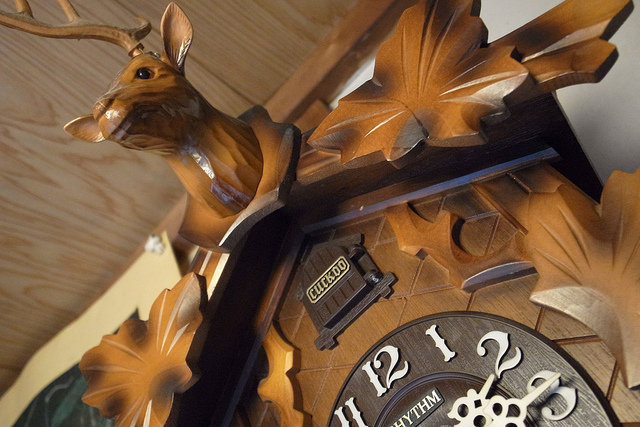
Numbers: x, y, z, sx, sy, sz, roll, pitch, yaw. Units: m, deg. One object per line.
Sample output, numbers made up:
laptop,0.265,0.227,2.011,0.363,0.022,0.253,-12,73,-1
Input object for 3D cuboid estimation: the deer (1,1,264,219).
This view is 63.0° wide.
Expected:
deer,-0.523,-0.294,1.391,0.561,0.266,0.297,44,-57,-16
